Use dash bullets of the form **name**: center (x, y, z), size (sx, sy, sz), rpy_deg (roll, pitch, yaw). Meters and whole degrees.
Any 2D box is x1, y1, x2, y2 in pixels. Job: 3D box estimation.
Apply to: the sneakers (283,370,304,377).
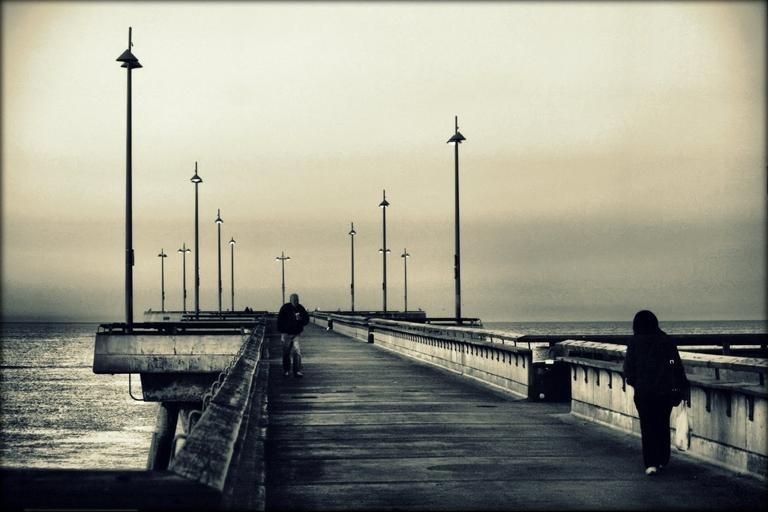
- **sneakers**: center (-2.602, 3.492, 41.091), size (0.606, 0.253, 0.206), rpy_deg (0, -2, 10)
